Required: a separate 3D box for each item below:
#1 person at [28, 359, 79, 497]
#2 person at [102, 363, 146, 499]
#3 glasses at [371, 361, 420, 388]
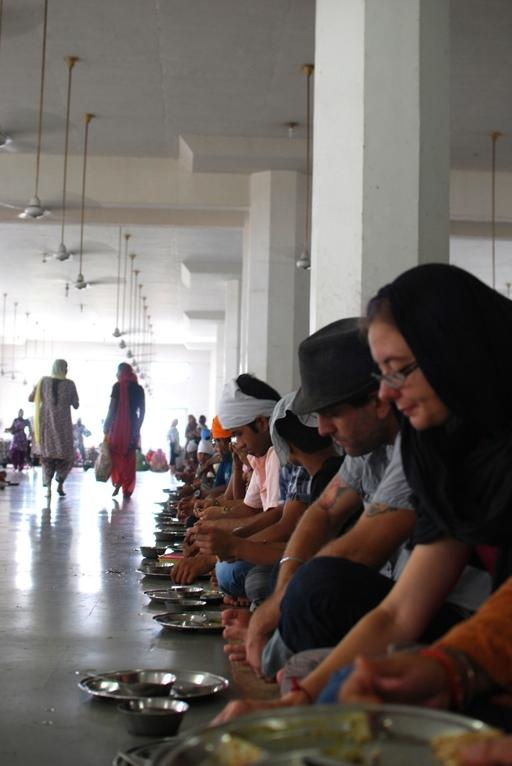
[{"bbox_3d":[-2.173,0.425,8.130,0.437,1.373,0.481,1,-3,-15],"label":"person"},{"bbox_3d":[-1.538,0.537,8.666,0.432,1.566,0.705,1,-3,-10],"label":"person"},{"bbox_3d":[0.220,-0.022,1.159,0.044,0.013,0.045,-4,19,47],"label":"glasses"}]
